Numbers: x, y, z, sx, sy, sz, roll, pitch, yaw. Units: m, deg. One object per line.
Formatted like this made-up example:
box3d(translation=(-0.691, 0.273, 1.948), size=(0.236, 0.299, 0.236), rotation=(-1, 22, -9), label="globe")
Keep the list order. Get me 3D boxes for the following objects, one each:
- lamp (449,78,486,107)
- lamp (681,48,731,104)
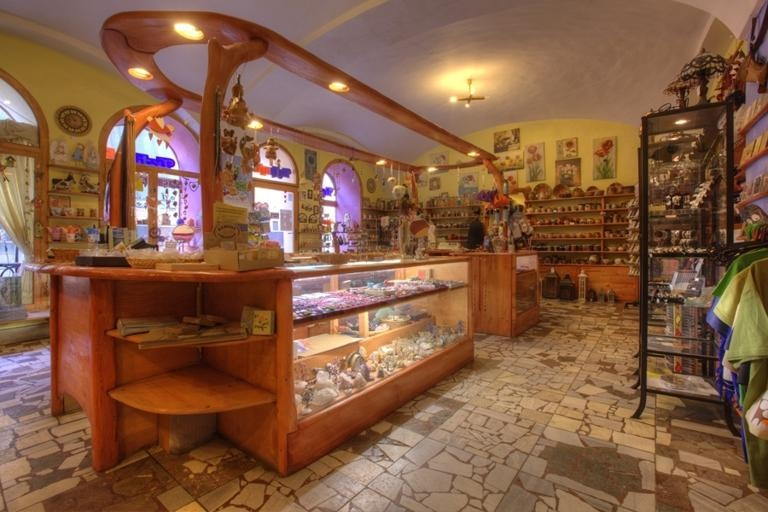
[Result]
box3d(translation=(1.941, -3.679, 11.080), size=(0.662, 0.428, 0.647), rotation=(0, -2, -1), label="lamp")
box3d(translation=(3.935, -2.194, 5.939), size=(0.453, 0.702, 0.277), rotation=(-4, 4, -14), label="lamp")
